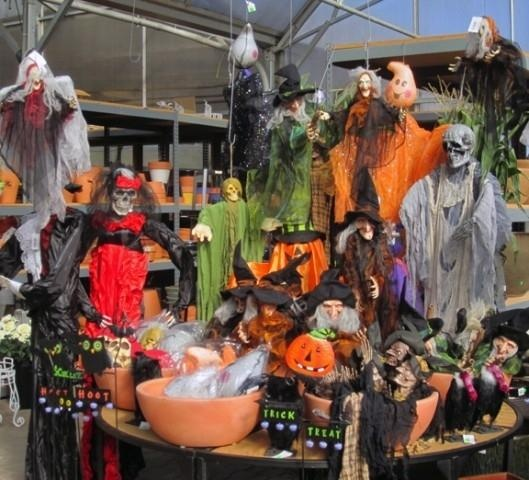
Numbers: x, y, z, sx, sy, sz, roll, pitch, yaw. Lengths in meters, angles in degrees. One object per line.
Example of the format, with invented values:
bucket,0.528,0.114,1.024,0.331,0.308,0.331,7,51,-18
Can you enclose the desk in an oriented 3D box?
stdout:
desk,0.209,0.738,2.493,1.671,0.341,0.506,1,0,-8
